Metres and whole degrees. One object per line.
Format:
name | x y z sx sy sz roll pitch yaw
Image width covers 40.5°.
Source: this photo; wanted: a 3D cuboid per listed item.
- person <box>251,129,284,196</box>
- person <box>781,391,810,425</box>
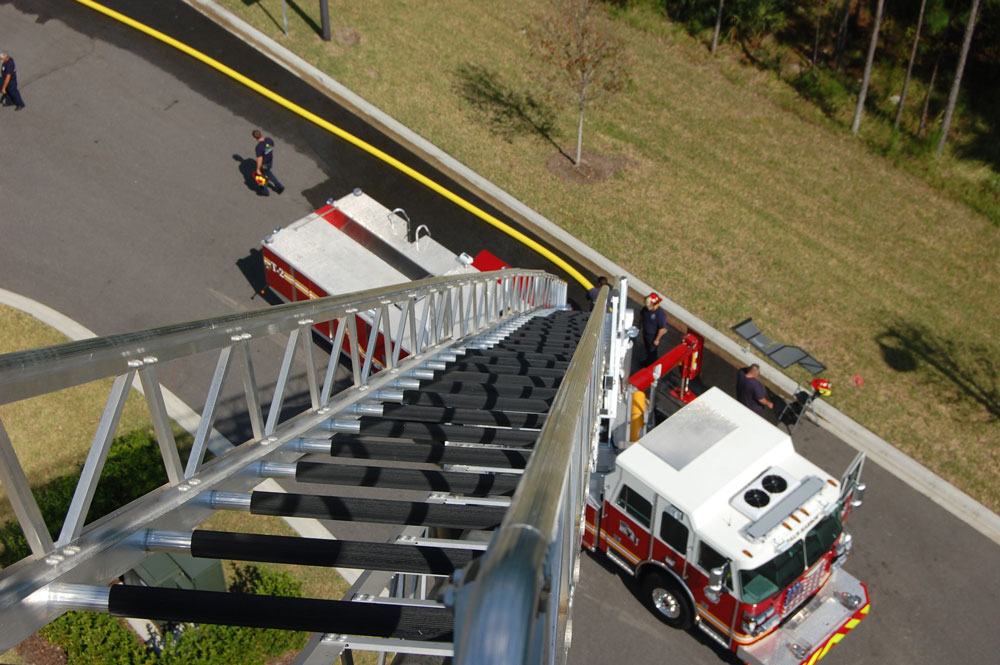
person | -5.945 -4.350 34.437 0.721 1.861 1.058 7 43 6
person | 6.718 1.732 31.139 0.197 0.997 0.468 3 18 -45
